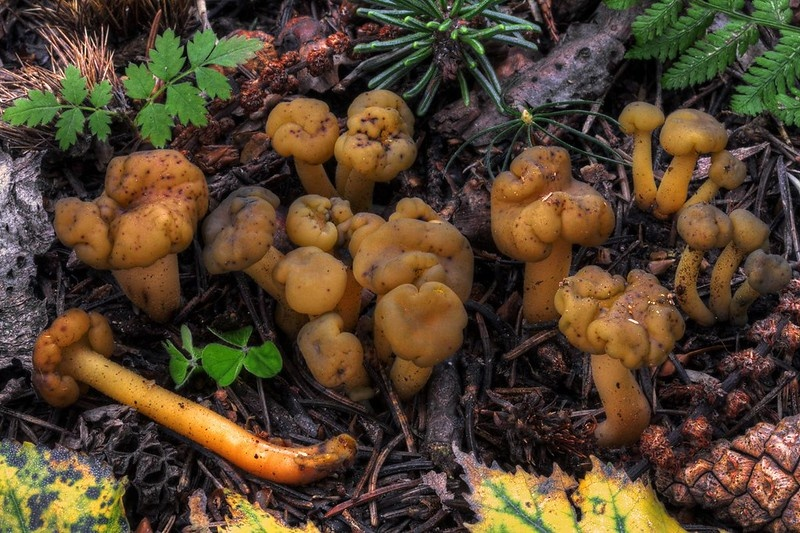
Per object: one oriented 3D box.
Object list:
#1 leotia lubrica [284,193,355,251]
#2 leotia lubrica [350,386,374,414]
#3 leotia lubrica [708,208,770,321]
[{"bbox_3d":[-0.628,-0.325,6.494,0.522,0.304,0.516,-11,51,-10],"label":"leotia lubrica"},{"bbox_3d":[-0.308,1.045,6.507,0.120,0.190,0.103,-23,50,1],"label":"leotia lubrica"},{"bbox_3d":[2.619,0.006,6.402,0.380,0.983,0.385,28,57,30],"label":"leotia lubrica"}]
